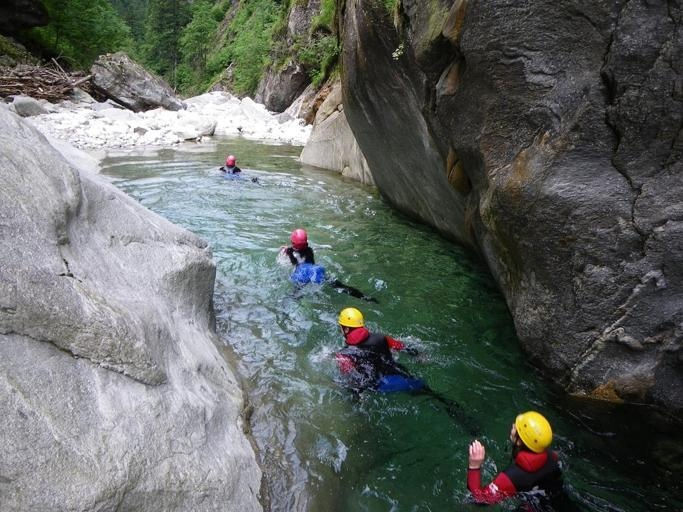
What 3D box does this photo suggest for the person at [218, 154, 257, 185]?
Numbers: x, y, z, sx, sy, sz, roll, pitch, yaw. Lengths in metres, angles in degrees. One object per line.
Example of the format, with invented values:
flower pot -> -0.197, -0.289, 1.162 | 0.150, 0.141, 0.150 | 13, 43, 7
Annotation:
person -> -2.907, -2.434, 15.366 | 0.971, 0.551, 1.497 | -15, 41, -37

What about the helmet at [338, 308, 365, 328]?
helmet -> 0.107, 0.743, 6.667 | 0.216, 0.160, 0.266 | 1, 23, -25

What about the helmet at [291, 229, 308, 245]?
helmet -> -0.701, -0.295, 8.968 | 0.208, 0.290, 0.278 | 5, 22, -19

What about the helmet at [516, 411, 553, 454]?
helmet -> 1.784, 1.636, 5.071 | 0.268, 0.191, 0.361 | 4, 37, -27
